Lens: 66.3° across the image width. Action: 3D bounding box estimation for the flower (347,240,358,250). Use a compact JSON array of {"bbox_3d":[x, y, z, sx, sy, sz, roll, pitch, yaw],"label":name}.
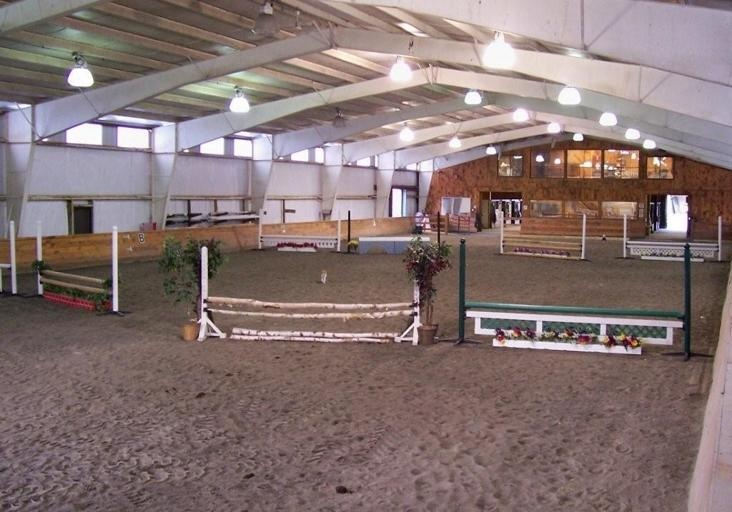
[{"bbox_3d":[-0.442,-0.394,18.936,0.352,0.342,0.346,-1,-3,0],"label":"flower"}]
